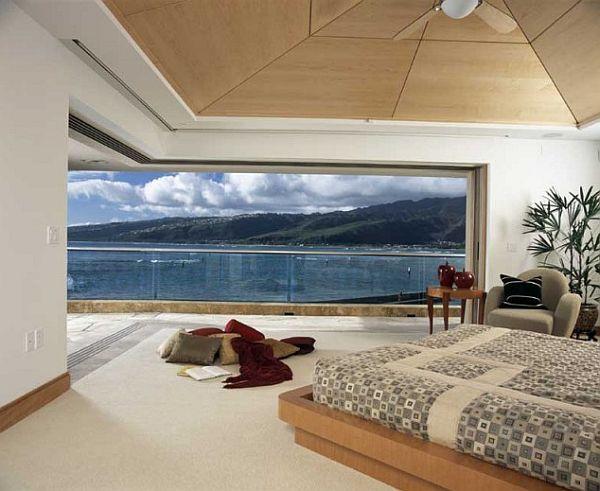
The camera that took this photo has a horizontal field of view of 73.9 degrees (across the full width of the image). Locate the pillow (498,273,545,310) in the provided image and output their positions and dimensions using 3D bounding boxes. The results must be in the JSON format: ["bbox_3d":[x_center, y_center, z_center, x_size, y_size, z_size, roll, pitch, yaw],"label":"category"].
[{"bbox_3d":[2.561,0.539,4.563,0.426,0.352,0.152,0,-27,26],"label":"pillow"}]
